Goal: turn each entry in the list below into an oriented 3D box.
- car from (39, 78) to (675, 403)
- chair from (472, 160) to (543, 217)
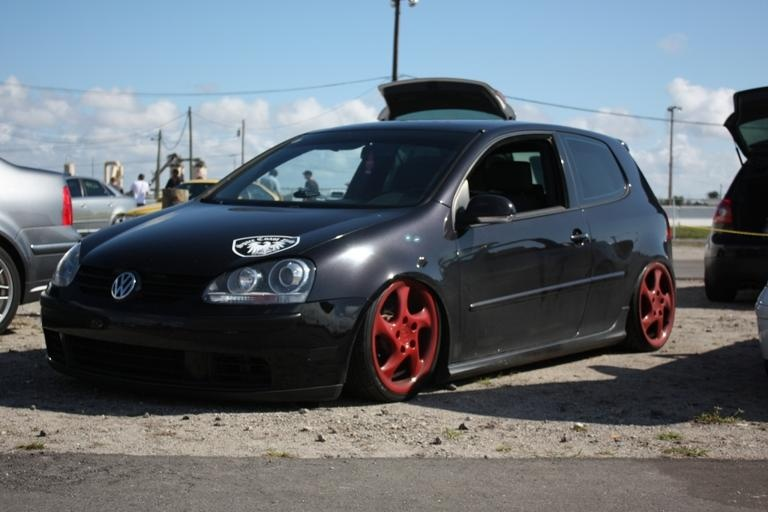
[{"bbox_3d":[0.073,-0.064,5.625,4.556,1.839,1.703,-1,0,-35],"label":"car"},{"bbox_3d":[1.003,-0.575,6.010,0.529,0.446,0.473,1,8,10],"label":"chair"}]
